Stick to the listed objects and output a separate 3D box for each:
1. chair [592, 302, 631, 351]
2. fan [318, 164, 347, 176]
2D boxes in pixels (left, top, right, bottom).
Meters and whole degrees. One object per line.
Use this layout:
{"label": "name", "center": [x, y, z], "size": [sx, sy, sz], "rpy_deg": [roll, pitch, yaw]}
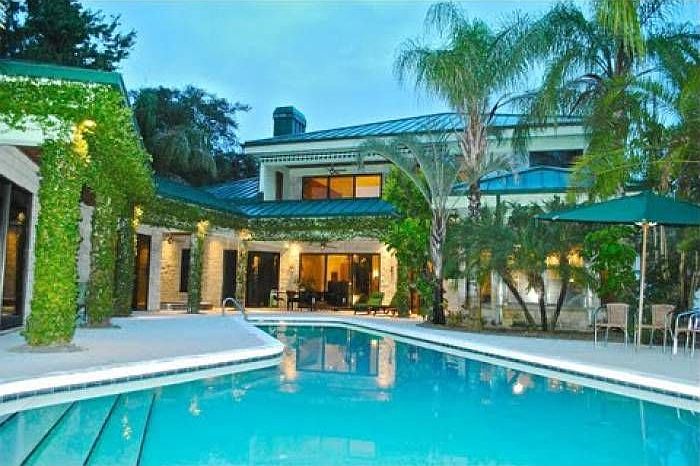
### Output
{"label": "chair", "center": [6.913, 2.514, 14.125], "size": [1.030, 1.461, 1.081], "rpy_deg": [-5, -18, 28]}
{"label": "fan", "center": [-0.926, -3.250, 27.922], "size": [1.499, 0.487, 0.607], "rpy_deg": [1, -5, 3]}
